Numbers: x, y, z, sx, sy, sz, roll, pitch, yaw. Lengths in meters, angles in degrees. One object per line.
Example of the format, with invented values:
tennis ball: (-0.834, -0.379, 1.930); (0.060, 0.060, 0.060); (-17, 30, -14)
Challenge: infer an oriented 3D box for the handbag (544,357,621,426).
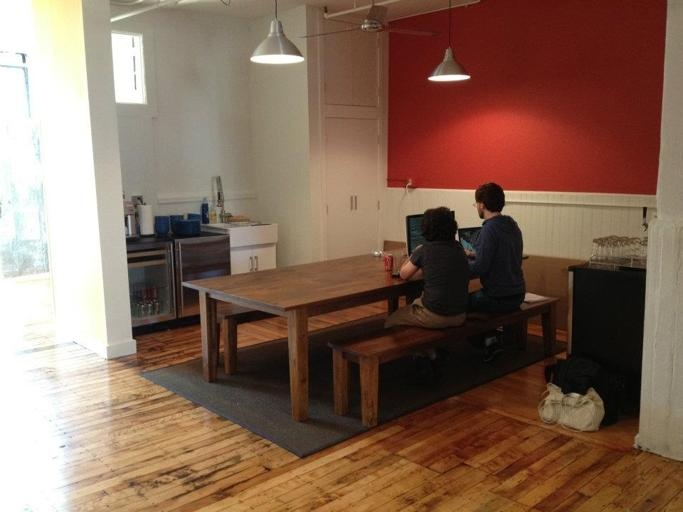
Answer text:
handbag: (1.693, 0.978, 3.951); (0.494, 0.494, 0.210); (11, -17, 20)

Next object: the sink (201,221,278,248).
sink: (-1.239, -0.275, 6.947); (0.468, 0.299, 0.747); (11, 18, 42)

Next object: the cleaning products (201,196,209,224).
cleaning products: (-1.764, -0.593, 7.153); (0.123, 0.290, 0.281); (-5, 14, -13)

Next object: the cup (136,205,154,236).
cup: (-2.257, -0.426, 6.385); (0.169, 0.345, 0.215); (-7, 15, -21)

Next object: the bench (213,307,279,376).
bench: (-0.955, 0.728, 5.037); (0.556, 0.543, 0.573); (5, 8, 42)

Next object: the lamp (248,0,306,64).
lamp: (-0.545, -1.773, 4.523); (0.383, 0.328, 0.422); (-8, 15, -23)

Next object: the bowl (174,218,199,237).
bowl: (-1.802, -0.333, 6.453); (0.233, 0.139, 0.229); (0, 8, 0)

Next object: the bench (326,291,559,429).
bench: (0.984, 0.790, 4.709); (2.239, 0.552, 0.503); (-9, 9, -35)

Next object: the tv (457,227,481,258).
tv: (1.288, -0.138, 5.555); (0.300, 0.292, 0.068); (-2, 1, -33)

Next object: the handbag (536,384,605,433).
handbag: (1.621, 0.963, 3.930); (0.275, 0.310, 0.438); (-8, 10, -43)

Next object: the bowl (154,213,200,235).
bowl: (-1.942, -0.342, 6.437); (0.421, 0.156, 0.296); (-2, 0, 39)
